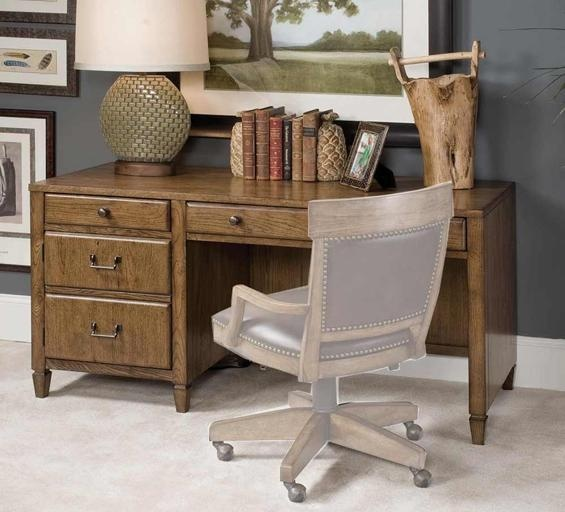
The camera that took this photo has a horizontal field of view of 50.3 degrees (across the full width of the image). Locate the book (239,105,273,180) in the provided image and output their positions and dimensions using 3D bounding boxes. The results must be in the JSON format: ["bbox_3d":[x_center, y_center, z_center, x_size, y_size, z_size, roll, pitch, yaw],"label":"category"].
[{"bbox_3d":[-0.100,-0.438,2.365,0.094,0.246,0.259,3,11,14],"label":"book"}]

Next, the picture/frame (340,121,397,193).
[{"bbox_3d":[0.327,-0.365,2.182,0.143,0.233,0.179,-4,19,-22],"label":"picture/frame"}]

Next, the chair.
[{"bbox_3d":[0.158,0.224,1.805,0.637,0.785,0.626,-7,9,-42],"label":"chair"}]

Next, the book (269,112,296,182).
[{"bbox_3d":[0.013,-0.422,2.328,0.122,0.200,0.218,-1,12,-5],"label":"book"}]

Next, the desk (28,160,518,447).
[{"bbox_3d":[-0.014,0.166,2.412,1.753,0.807,0.665,2,4,12],"label":"desk"}]
